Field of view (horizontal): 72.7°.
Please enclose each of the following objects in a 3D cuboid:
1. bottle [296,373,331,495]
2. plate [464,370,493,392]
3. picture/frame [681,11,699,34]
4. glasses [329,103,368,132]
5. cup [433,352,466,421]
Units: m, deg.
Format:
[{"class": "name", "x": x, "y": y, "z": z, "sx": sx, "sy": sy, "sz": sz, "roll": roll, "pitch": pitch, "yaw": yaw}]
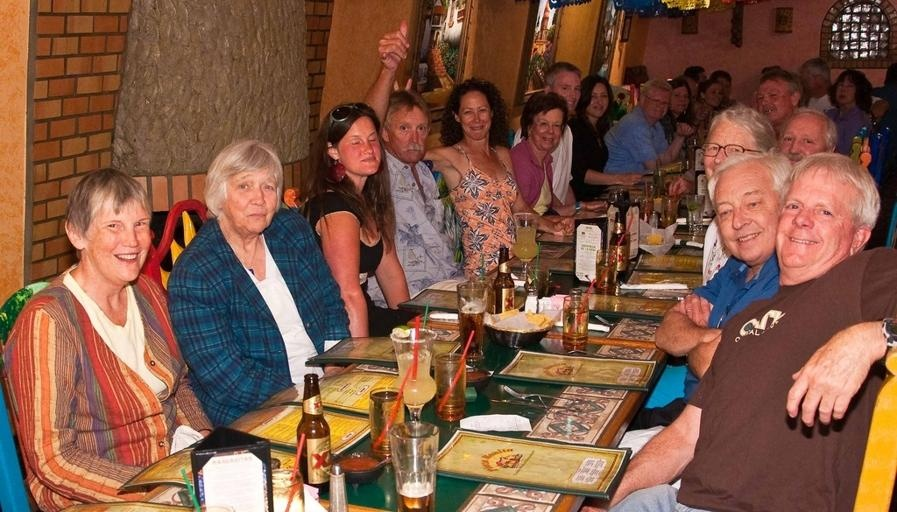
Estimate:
[{"class": "bottle", "x": -0.402, "y": 0.551, "z": 1.901, "sx": 0.096, "sy": 0.362, "sz": 0.081, "roll": 1, "pitch": 10, "yaw": -8}, {"class": "plate", "x": 0.120, "y": 0.492, "z": 2.398, "sx": 0.113, "sy": 0.069, "sz": 0.087, "roll": 0, "pitch": 10, "yaw": -13}, {"class": "picture/frame", "x": 5.897, "y": -5.718, "z": 15.129, "sx": 0.418, "sy": 0.391, "sz": 0.432, "roll": 7, "pitch": 11, "yaw": 26}, {"class": "glasses", "x": -0.551, "y": -0.815, "z": 3.568, "sx": 0.260, "sy": 0.162, "sz": 0.135, "roll": 0, "pitch": 10, "yaw": -9}, {"class": "cup", "x": 0.025, "y": 0.478, "z": 2.257, "sx": 0.130, "sy": 0.245, "sz": 0.124, "roll": 2, "pitch": 10, "yaw": 0}]
